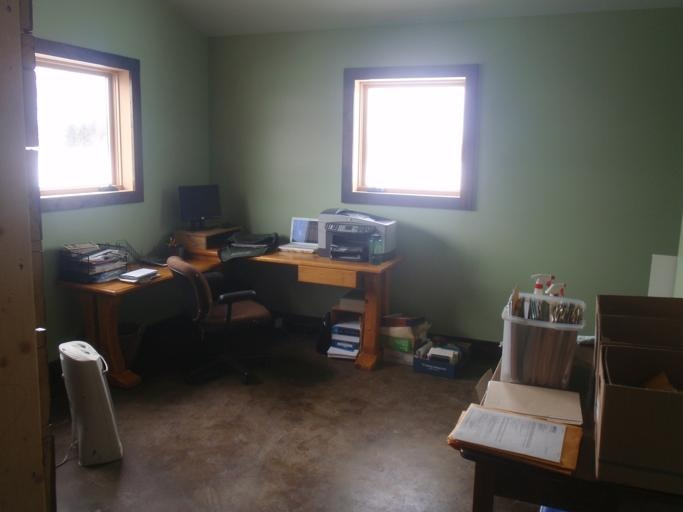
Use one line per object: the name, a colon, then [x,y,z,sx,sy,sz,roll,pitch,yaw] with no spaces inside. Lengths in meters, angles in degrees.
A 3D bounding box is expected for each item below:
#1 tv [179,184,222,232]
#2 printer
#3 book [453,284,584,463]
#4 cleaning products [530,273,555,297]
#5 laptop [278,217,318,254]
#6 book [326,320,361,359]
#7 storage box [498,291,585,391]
tv: [-1.311,-0.441,4.806,0.385,0.385,0.212,-8,12,-42]
printer: [0.114,-0.158,4.346,0.579,0.429,0.425,5,11,22]
book: [0.712,0.467,2.008,0.358,0.271,0.719,5,28,23]
cleaning products: [1.202,0.168,3.117,0.145,0.189,0.099,1,7,17]
laptop: [-0.375,-0.190,4.770,0.328,0.253,0.300,5,12,15]
book: [0.036,0.714,4.447,0.229,0.112,0.316,1,9,12]
storage box: [0.797,0.311,2.238,0.368,0.447,0.336,3,1,16]
